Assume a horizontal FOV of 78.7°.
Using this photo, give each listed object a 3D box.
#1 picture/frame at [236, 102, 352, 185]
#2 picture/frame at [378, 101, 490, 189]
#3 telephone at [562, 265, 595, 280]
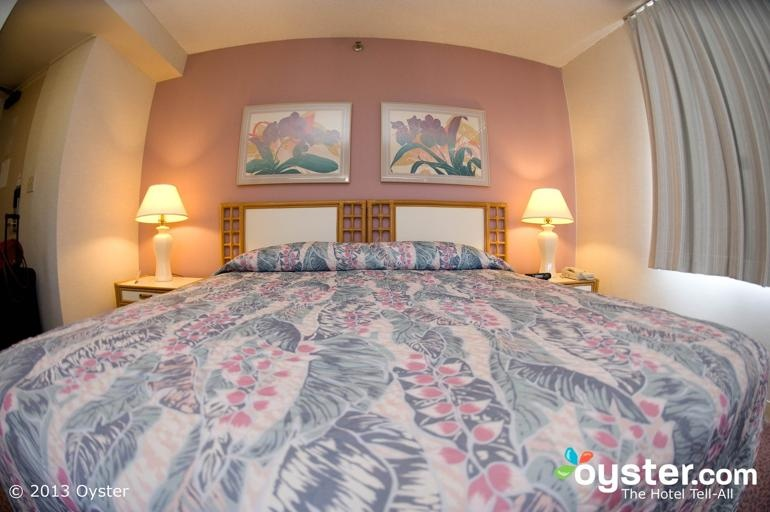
[{"bbox_3d":[-0.850,-1.085,4.566,0.784,0.579,0.031,0,0,4],"label":"picture/frame"},{"bbox_3d":[0.442,-1.089,4.630,0.866,0.636,0.032,1,-6,-10],"label":"picture/frame"},{"bbox_3d":[1.840,0.148,4.486,0.139,0.065,0.192,-1,6,-17],"label":"telephone"}]
